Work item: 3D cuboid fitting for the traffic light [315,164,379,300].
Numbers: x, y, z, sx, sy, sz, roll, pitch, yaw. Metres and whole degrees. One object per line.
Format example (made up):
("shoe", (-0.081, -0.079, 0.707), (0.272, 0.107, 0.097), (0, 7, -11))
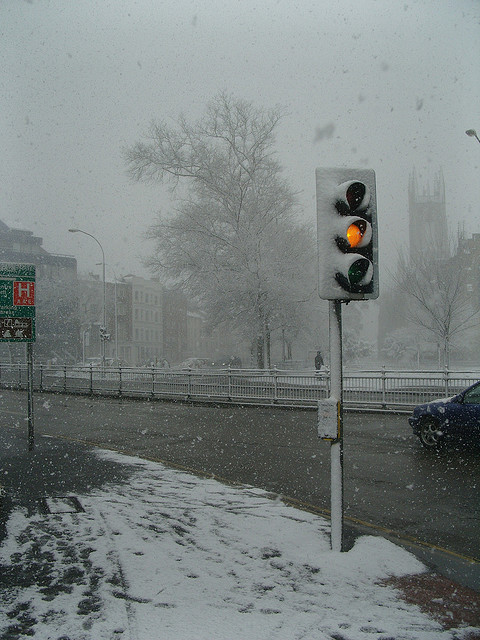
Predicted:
("traffic light", (0.906, -0.703, 6.405), (0.379, 1.074, 0.332), (-2, 1, 3))

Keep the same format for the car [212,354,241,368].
("car", (-1.211, 3.866, 77.473), (1.743, 1.337, 2.641), (0, -5, -1))
